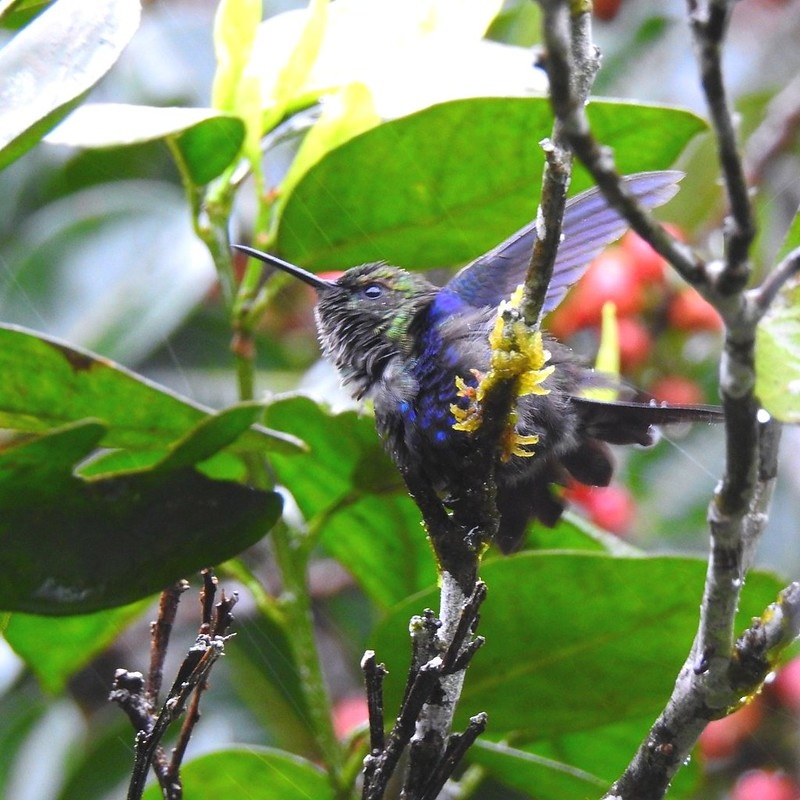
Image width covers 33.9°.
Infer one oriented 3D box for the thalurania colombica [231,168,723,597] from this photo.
[{"bbox_3d":[0.050,-0.025,0.867,0.322,0.187,0.271,0,-25,-5],"label":"thalurania colombica"}]
